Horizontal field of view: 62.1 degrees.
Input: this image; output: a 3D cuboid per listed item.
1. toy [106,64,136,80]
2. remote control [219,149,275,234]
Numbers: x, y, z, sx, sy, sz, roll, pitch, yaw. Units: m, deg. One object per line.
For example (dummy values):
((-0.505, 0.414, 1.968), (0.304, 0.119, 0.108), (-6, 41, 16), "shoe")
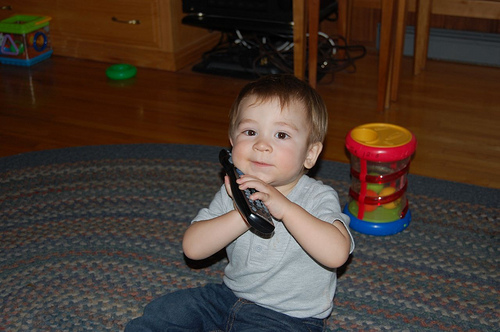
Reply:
((-0.767, -0.581, 2.538), (0.159, 0.060, 0.200), (6, 30, 7), "toy")
((-0.012, 0.057, 1.008), (0.071, 0.060, 0.238), (8, 34, -38), "remote control")
